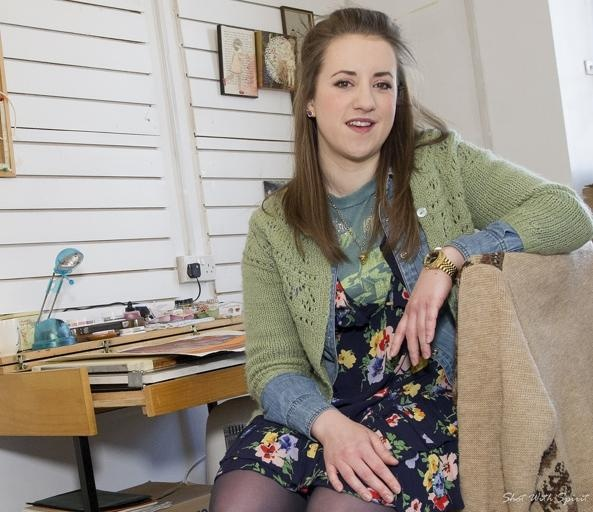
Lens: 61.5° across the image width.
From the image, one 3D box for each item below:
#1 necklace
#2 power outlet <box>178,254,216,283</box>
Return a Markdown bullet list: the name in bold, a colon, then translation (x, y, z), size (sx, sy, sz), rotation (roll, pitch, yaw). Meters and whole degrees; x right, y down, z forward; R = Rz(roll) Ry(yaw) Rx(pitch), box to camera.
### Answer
- **necklace**: translation (0.147, -0.047, 1.148), size (0.066, 0.043, 0.225), rotation (-5, -32, 15)
- **power outlet**: translation (-0.570, 0.067, 2.807), size (0.056, 0.108, 0.160), rotation (-2, 1, 38)
